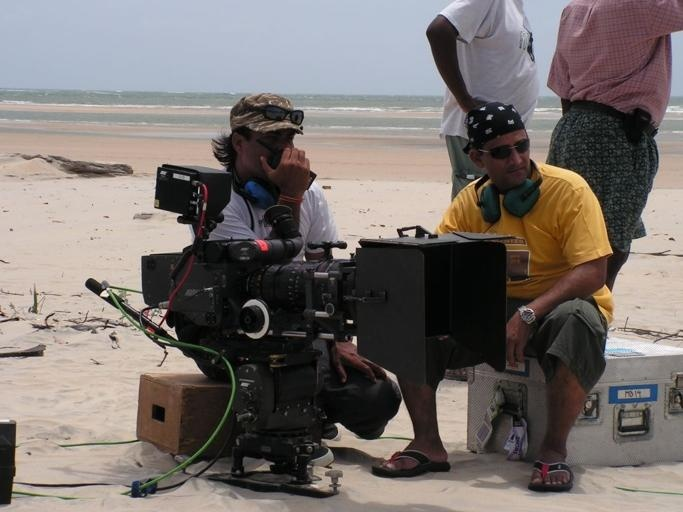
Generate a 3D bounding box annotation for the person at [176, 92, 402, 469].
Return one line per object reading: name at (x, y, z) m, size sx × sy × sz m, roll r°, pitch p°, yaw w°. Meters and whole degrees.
person at (-0.165, 0.063, 7.167) m, size 1.383 × 2.043 × 1.086 m, roll 8°, pitch 17°, yaw 39°

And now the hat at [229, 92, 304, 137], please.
hat at (-0.469, -0.891, 7.040) m, size 0.357 × 0.196 × 0.477 m, roll 1°, pitch 8°, yaw -38°

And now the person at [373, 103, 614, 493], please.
person at (1.013, 0.200, 6.830) m, size 1.177 × 2.296 × 0.850 m, roll 2°, pitch -2°, yaw 10°

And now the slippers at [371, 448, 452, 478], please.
slippers at (0.409, 1.234, 6.742) m, size 0.456 × 0.159 × 0.147 m, roll 2°, pitch -2°, yaw 0°

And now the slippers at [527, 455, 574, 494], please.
slippers at (1.193, 1.268, 6.520) m, size 0.249 × 0.165 × 0.148 m, roll 2°, pitch -2°, yaw 7°
